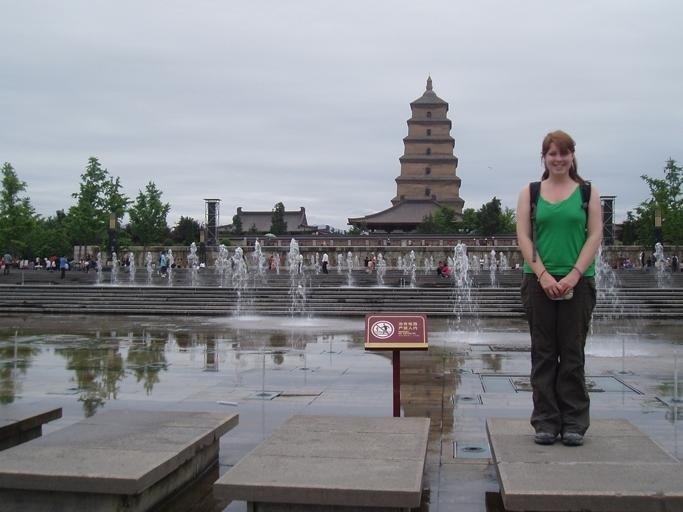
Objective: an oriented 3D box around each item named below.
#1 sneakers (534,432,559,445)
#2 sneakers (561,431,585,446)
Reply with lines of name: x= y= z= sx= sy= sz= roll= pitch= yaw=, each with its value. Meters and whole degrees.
sneakers: x=1.748 y=1.552 z=8.253 sx=0.078 sy=0.086 sz=0.213 roll=-8 pitch=-22 yaw=30
sneakers: x=2.005 y=1.558 z=8.258 sx=0.190 sy=0.105 sz=0.092 roll=-3 pitch=-2 yaw=-6
